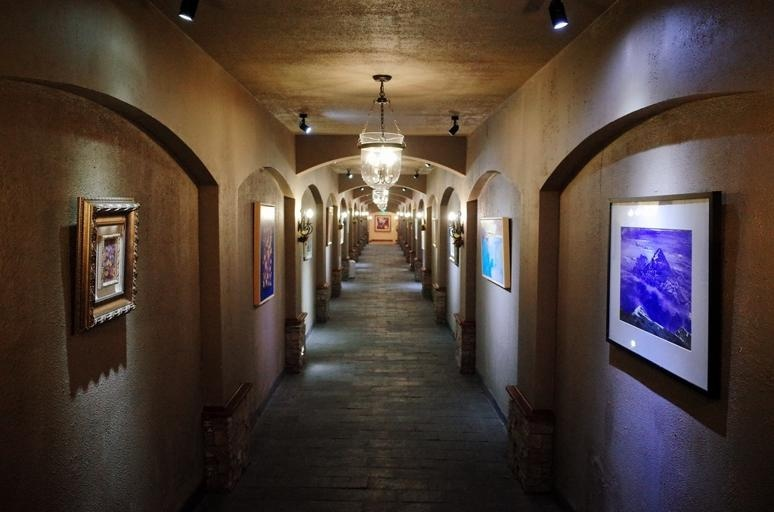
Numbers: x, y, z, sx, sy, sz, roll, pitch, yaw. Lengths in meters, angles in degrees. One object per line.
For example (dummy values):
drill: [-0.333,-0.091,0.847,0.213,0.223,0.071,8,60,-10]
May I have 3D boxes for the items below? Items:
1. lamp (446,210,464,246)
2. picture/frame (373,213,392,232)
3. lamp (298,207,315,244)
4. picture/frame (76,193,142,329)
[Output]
lamp: [1.258,-0.482,9.515,0.239,0.685,0.250,0,-16,-7]
picture/frame: [-0.324,-2.604,39.811,1.224,1.340,0.124,2,6,-3]
lamp: [-1.472,-0.561,9.498,0.207,0.726,0.720,-1,0,4]
picture/frame: [-2.046,0.028,3.872,0.136,0.927,0.567,2,7,13]
